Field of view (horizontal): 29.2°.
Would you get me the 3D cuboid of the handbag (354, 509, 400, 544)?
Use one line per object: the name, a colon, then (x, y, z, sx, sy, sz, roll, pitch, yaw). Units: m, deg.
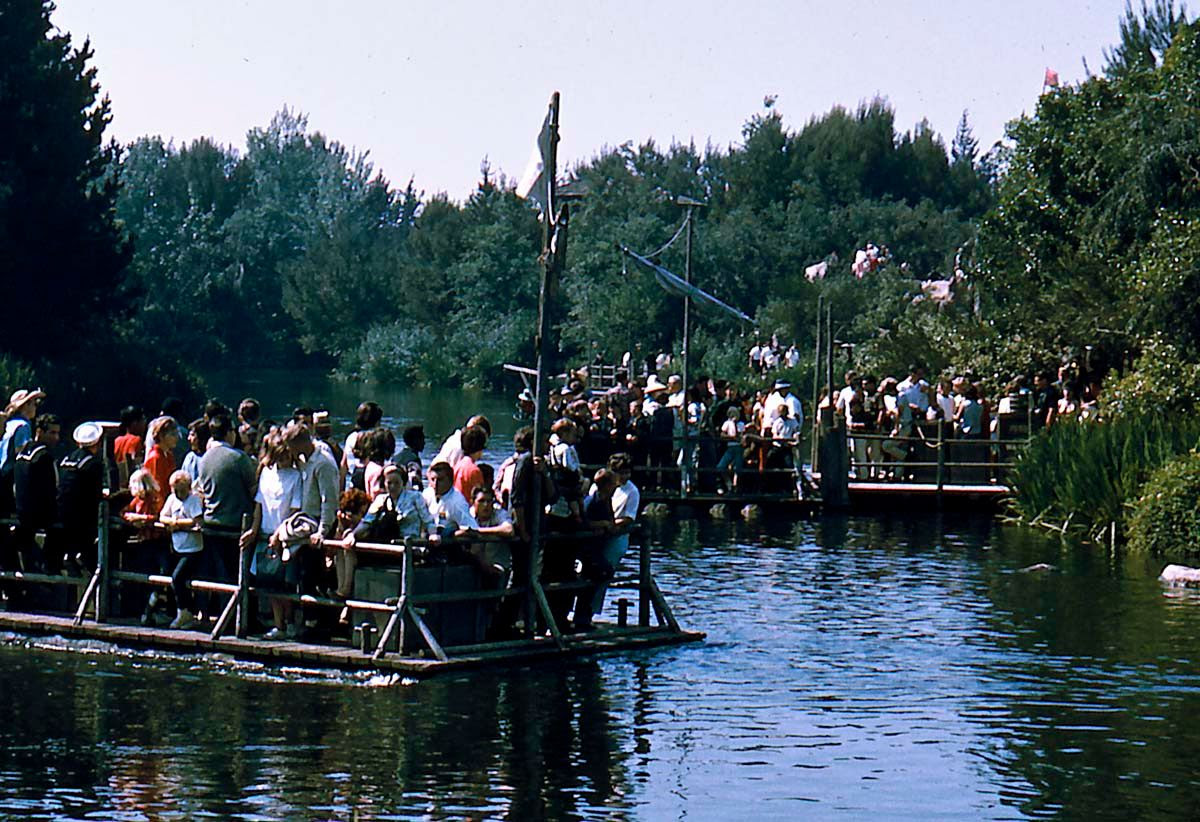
handbag: (-3.878, 2.047, 39.934, 0.579, 0.639, 0.276, 26, 0, -15)

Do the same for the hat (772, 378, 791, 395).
hat: (4.324, -0.549, 54.805, 0.341, 0.362, 0.292, 13, -13, -39)

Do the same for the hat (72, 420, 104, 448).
hat: (-9.192, 0.444, 41.237, 0.451, 0.424, 1.050, -3, 5, -10)
